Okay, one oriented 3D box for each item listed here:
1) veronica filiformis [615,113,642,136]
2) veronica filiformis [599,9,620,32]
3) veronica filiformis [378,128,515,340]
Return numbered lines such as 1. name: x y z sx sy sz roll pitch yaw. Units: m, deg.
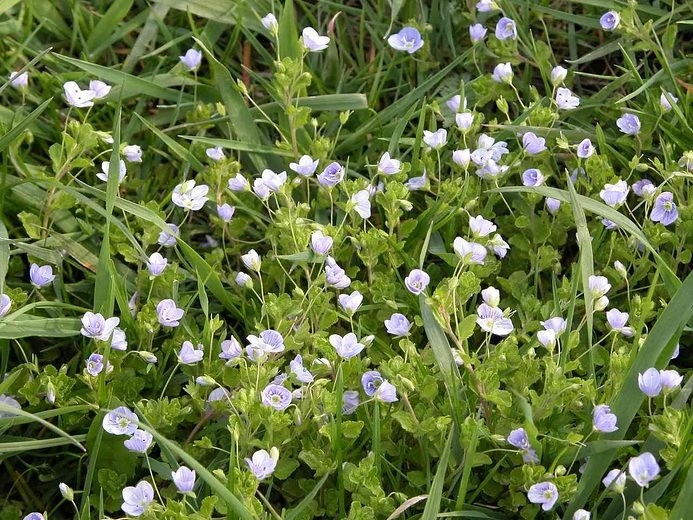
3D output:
1. veronica filiformis: 0.804 -0.385 1.830 0.051 0.038 0.082 -12 92 39
2. veronica filiformis: 0.780 -0.697 1.907 0.049 0.041 0.074 7 99 24
3. veronica filiformis: 0.282 -0.090 1.602 0.260 0.193 0.666 -2 62 9
